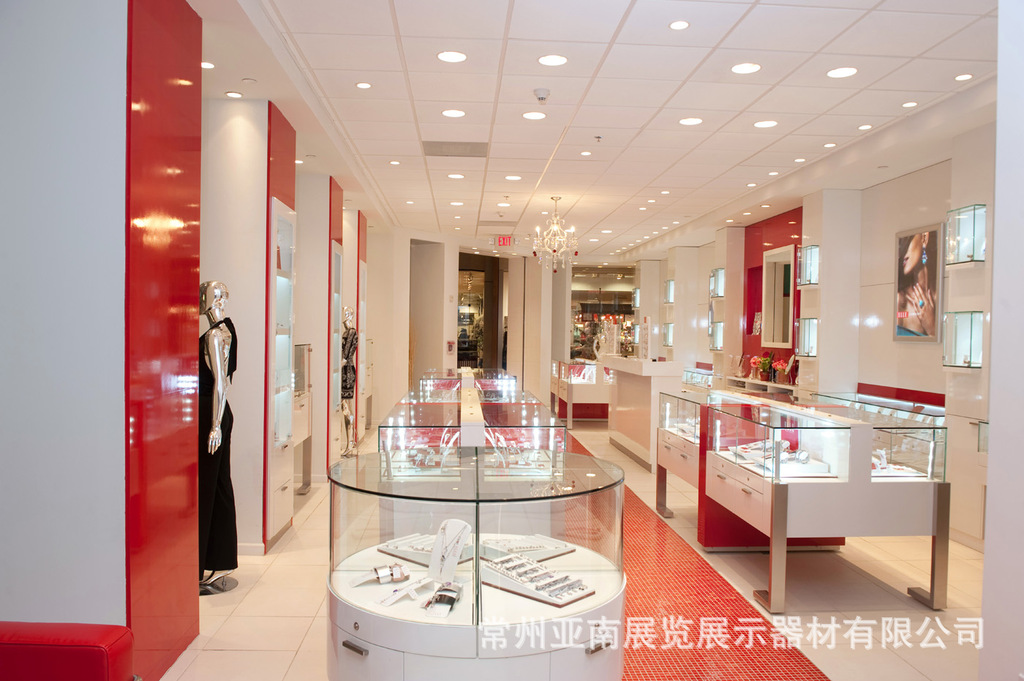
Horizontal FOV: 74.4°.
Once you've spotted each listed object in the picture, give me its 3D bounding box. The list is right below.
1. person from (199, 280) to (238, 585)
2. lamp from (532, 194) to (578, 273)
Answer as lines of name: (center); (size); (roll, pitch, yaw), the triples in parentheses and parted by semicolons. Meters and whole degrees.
person: (-2.453, 0.811, 5.560); (0.325, 2.591, 0.715); (-2, 6, -25)
lamp: (0.712, -1.804, 11.241); (0.742, 1.099, 0.736); (1, 1, 36)
